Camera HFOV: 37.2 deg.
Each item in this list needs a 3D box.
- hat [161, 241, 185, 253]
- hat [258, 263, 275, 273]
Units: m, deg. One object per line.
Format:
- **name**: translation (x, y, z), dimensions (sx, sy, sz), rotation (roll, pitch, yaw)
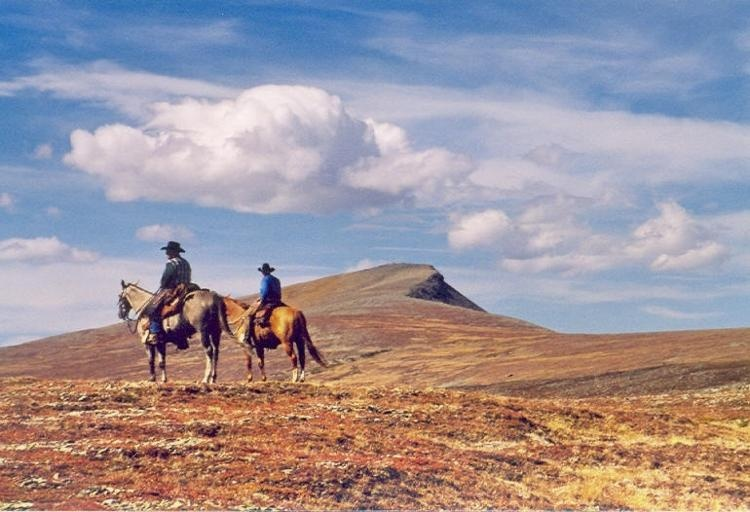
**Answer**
- **hat**: translation (-7.712, -0.311, 42.366), dimensions (0.789, 0.280, 0.835), rotation (7, 1, -29)
- **hat**: translation (-3.841, 0.446, 38.923), dimensions (0.931, 0.260, 0.814), rotation (1, -1, -2)
